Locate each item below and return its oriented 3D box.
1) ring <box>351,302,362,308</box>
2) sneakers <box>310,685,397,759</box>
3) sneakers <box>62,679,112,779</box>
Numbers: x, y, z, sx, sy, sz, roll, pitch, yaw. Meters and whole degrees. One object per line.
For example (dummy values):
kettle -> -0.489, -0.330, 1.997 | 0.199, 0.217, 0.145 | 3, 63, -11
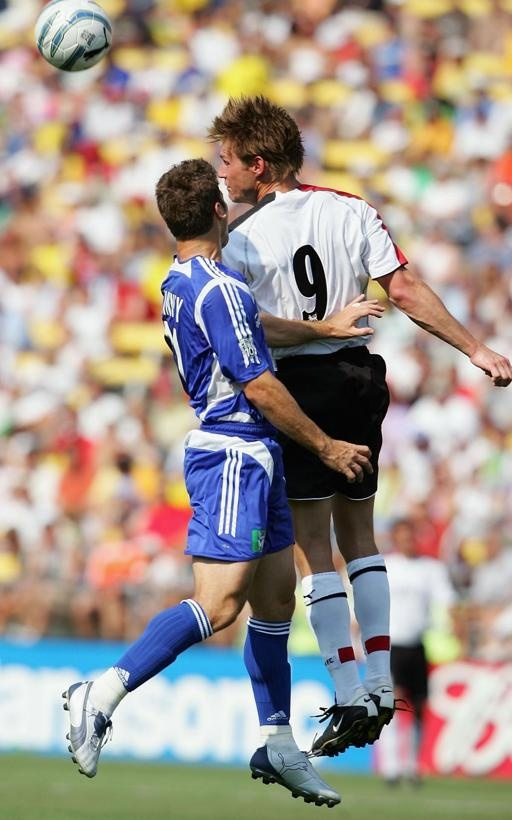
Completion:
ring -> 0.325, -0.345, 3.418 | 0.025, 0.006, 0.023 | -9, 36, 6
sneakers -> 0.246, 1.011, 3.382 | 0.170, 0.315, 0.165 | 3, 50, -48
sneakers -> -0.524, 0.956, 3.138 | 0.163, 0.135, 0.299 | -10, 80, 4
